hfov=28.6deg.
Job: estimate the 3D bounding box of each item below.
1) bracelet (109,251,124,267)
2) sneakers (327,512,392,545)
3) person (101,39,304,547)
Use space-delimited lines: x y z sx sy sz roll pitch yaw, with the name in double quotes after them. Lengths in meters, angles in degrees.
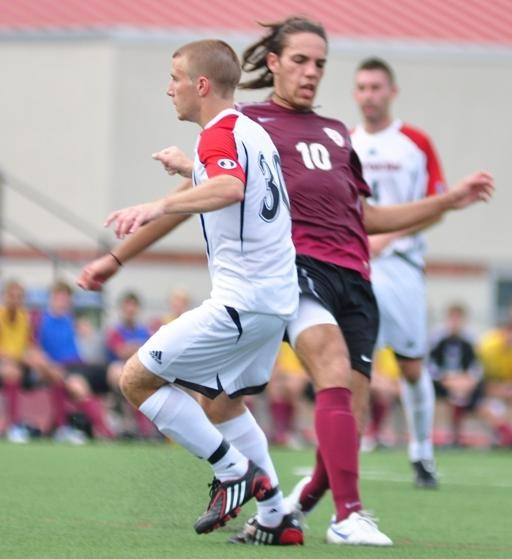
-0.544 -0.079 3.863 0.012 0.074 0.067 -40 9 -16 "bracelet"
0.346 0.858 3.476 0.233 0.102 0.097 -4 -9 29 "sneakers"
-0.147 0.032 3.504 0.670 1.644 0.752 2 -1 3 "person"
